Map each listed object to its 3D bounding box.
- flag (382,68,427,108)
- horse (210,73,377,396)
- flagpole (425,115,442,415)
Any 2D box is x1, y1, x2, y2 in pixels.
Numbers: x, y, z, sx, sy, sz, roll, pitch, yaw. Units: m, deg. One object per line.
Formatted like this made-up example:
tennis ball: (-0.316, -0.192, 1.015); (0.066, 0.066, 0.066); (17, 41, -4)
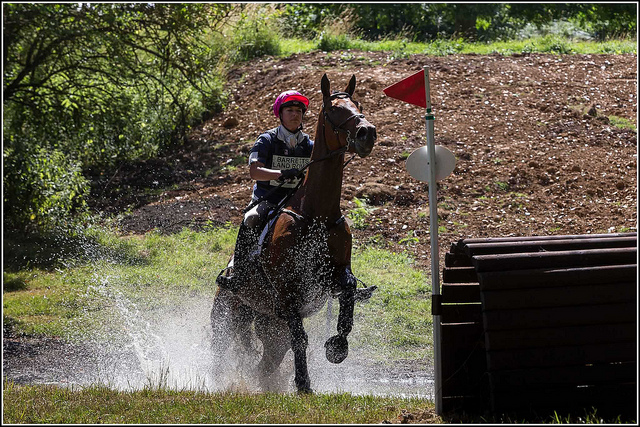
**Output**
flag: (1.793, -2.631, 20.160); (1.037, 1.011, 0.078); (9, 39, 24)
horse: (-0.531, 0.455, 20.779); (1.630, 6.706, 3.815); (1, -1, -39)
flagpole: (2.330, 1.109, 20.223); (0.761, 5.271, 0.652); (1, -1, 0)
